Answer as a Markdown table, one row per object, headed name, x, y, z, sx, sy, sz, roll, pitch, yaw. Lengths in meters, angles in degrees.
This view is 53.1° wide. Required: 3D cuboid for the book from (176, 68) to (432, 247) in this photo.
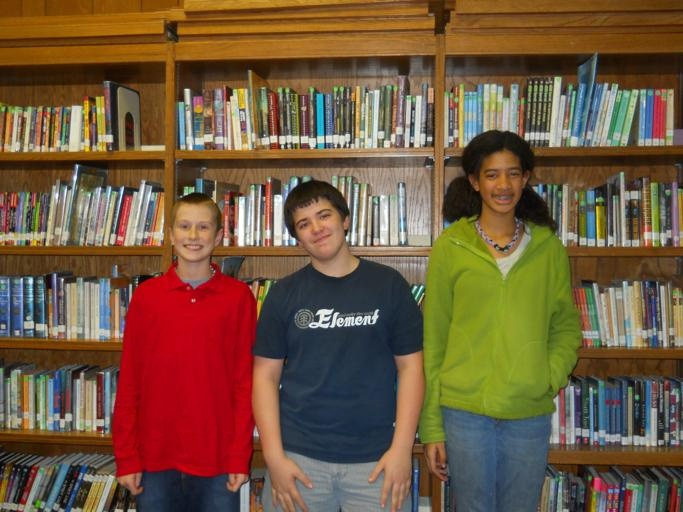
| name | x | y | z | sx | sy | sz | roll | pitch | yaw |
| --- | --- | --- | --- | --- | --- | --- | --- | --- | --- |
| book | -0.205 | -0.537 | 3.666 | 1.059 | 0.566 | 0.308 | -1 | -6 | 2 |
